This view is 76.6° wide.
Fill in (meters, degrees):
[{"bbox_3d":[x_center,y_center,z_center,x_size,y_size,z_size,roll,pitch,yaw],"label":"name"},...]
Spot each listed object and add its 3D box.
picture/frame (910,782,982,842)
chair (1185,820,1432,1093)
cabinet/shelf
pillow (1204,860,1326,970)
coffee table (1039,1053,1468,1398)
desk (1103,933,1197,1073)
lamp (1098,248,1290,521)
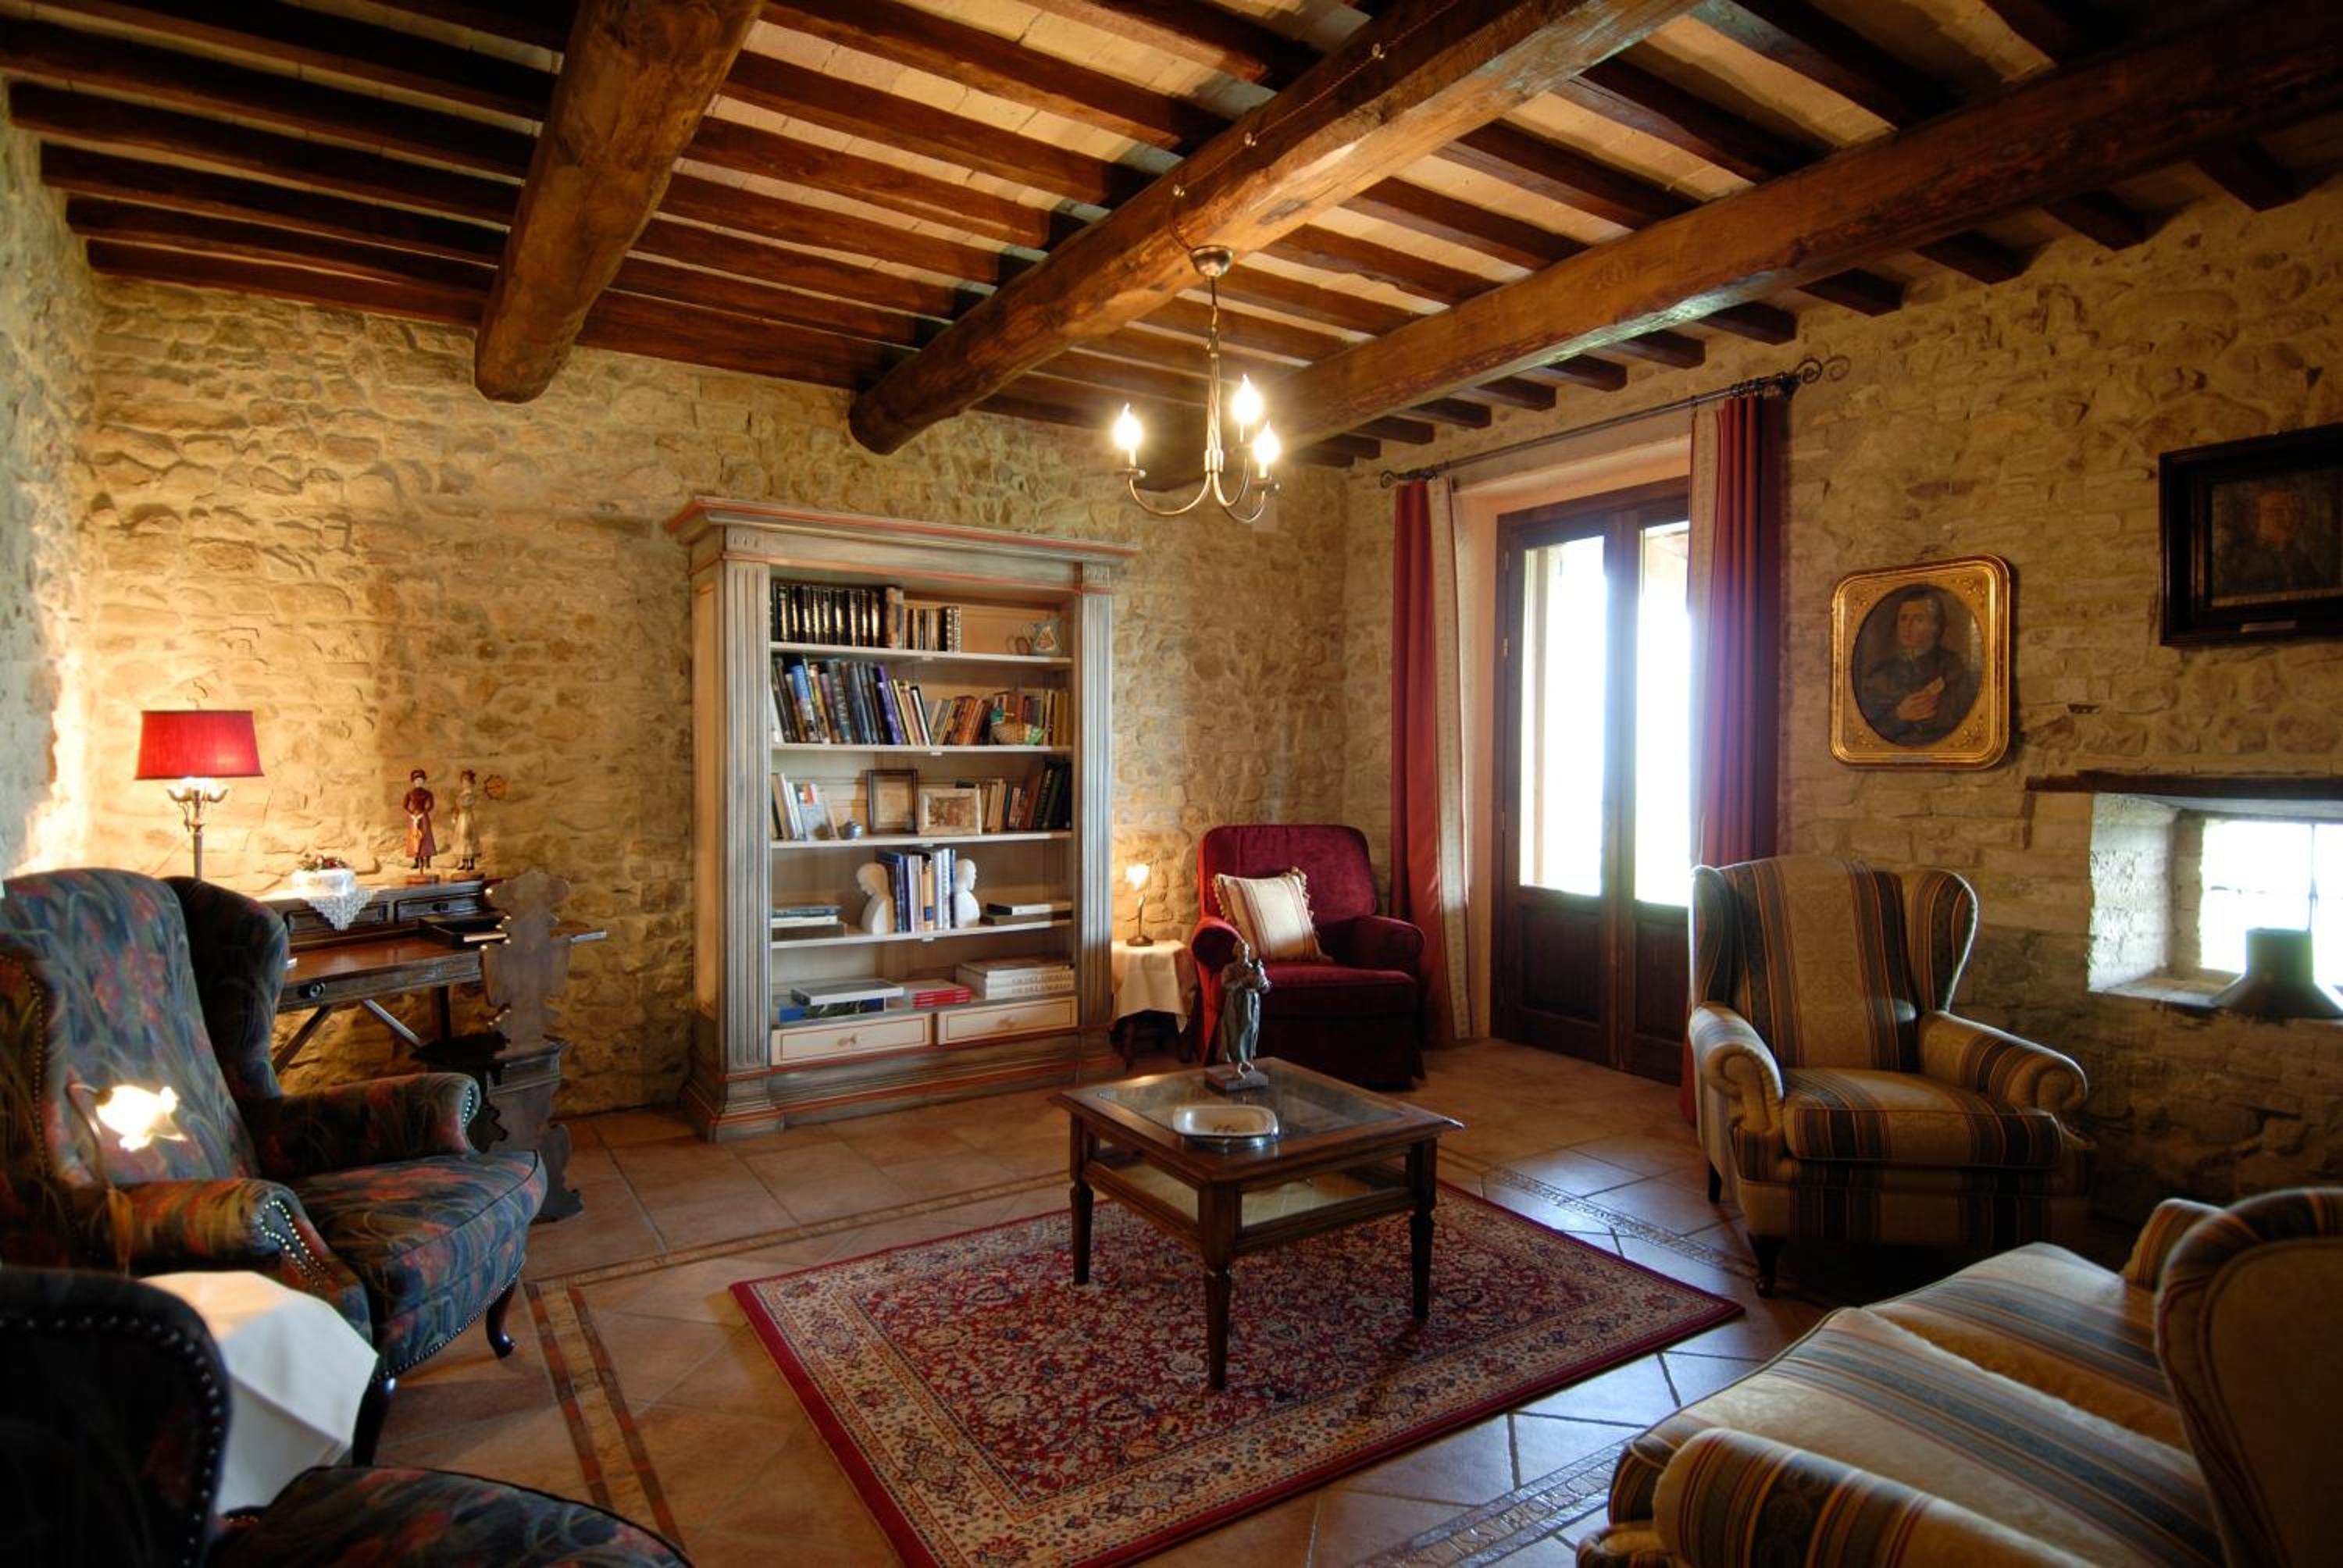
[{"bbox_3d":[-1.007,0.133,6.575,0.291,0.265,0.038,0,0,-25],"label":"picture/frame"},{"bbox_3d":[0.853,0.777,7.010,1.213,1.320,1.182,2,-13,-4],"label":"chair"},{"bbox_3d":[-1.153,0.121,6.445,1.853,2.694,0.716,-3,0,-31],"label":"cabinet/shelf"},{"bbox_3d":[0.469,0.615,6.893,0.450,0.411,0.127,-2,-24,-35],"label":"pillow"},{"bbox_3d":[0.205,1.269,4.645,0.955,0.539,0.924,0,1,-33],"label":"coffee table"},{"bbox_3d":[-0.095,1.040,6.969,0.500,0.511,0.536,0,-1,-8],"label":"desk"},{"bbox_3d":[0.158,-1.453,5.412,0.502,0.883,0.650,-4,6,-43],"label":"lamp"}]
